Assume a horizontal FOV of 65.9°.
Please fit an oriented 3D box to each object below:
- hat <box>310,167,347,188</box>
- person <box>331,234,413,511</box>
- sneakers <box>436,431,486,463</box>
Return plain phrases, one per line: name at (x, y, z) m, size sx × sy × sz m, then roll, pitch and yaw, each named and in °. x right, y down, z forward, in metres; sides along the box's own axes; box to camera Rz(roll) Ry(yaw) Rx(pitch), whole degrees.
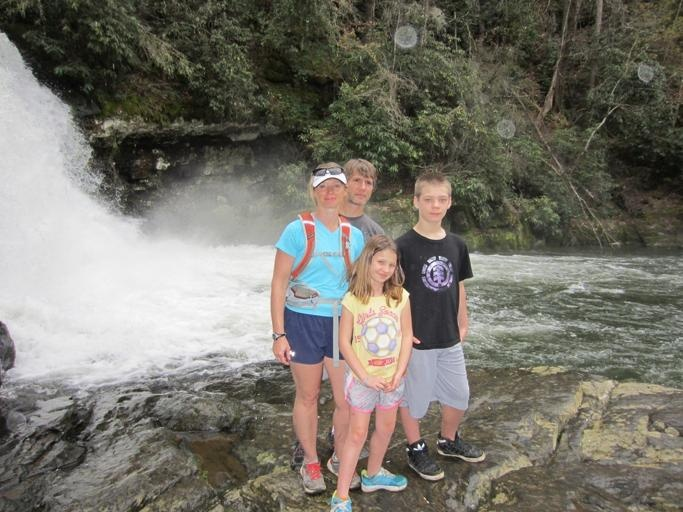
hat at (-0.141, -0.799, 5.365) m, size 0.236 × 0.138 × 0.231 m, roll -4°, pitch 12°, yaw -6°
person at (0.300, 1.131, 5.230) m, size 0.832 × 2.632 × 0.439 m, roll -1°, pitch 6°, yaw -13°
sneakers at (1.263, 2.068, 5.744) m, size 0.560 × 0.313 × 0.229 m, roll 4°, pitch 10°, yaw 11°
